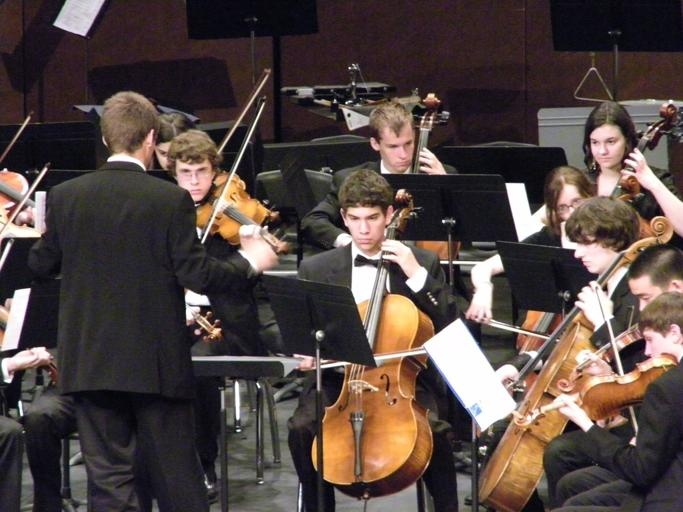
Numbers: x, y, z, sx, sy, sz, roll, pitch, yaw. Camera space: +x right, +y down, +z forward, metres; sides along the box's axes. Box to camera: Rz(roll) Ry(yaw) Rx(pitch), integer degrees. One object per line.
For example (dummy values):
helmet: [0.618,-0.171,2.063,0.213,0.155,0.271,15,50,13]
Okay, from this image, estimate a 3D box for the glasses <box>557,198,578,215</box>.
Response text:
glasses: [1.251,-0.281,4.788,0.111,0.067,0.027,-38,-30,-13]
